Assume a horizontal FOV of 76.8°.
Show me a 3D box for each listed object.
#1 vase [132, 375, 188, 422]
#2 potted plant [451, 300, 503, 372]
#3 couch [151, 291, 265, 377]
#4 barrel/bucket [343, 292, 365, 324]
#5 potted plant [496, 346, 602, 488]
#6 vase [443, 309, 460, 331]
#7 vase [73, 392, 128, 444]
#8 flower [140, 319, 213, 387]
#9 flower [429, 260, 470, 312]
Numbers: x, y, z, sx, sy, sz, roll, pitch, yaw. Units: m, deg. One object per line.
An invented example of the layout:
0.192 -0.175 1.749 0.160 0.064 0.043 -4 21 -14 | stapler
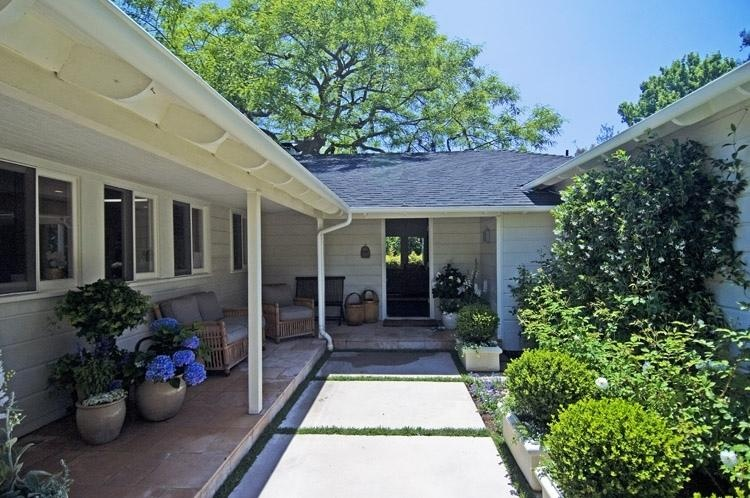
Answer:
-2.629 1.825 5.812 0.631 0.446 0.600 2 -3 -41 | vase
1.794 1.477 8.040 0.872 1.137 1.337 -2 2 0 | potted plant
-2.525 1.259 7.563 1.131 0.983 1.812 0 1 1 | couch
-0.409 1.265 10.059 0.660 0.823 0.554 0 -6 1 | barrel/bucket
1.826 1.849 5.686 1.172 1.561 1.421 1 -3 7 | potted plant
1.476 1.396 9.269 0.360 0.360 0.509 0 -5 7 | vase
-3.065 1.855 5.365 0.519 0.455 0.541 1 -4 -8 | vase
-2.478 1.279 5.765 0.736 0.730 0.608 -2 12 -23 | flower
1.561 0.764 9.723 0.744 0.837 0.792 1 7 19 | flower
